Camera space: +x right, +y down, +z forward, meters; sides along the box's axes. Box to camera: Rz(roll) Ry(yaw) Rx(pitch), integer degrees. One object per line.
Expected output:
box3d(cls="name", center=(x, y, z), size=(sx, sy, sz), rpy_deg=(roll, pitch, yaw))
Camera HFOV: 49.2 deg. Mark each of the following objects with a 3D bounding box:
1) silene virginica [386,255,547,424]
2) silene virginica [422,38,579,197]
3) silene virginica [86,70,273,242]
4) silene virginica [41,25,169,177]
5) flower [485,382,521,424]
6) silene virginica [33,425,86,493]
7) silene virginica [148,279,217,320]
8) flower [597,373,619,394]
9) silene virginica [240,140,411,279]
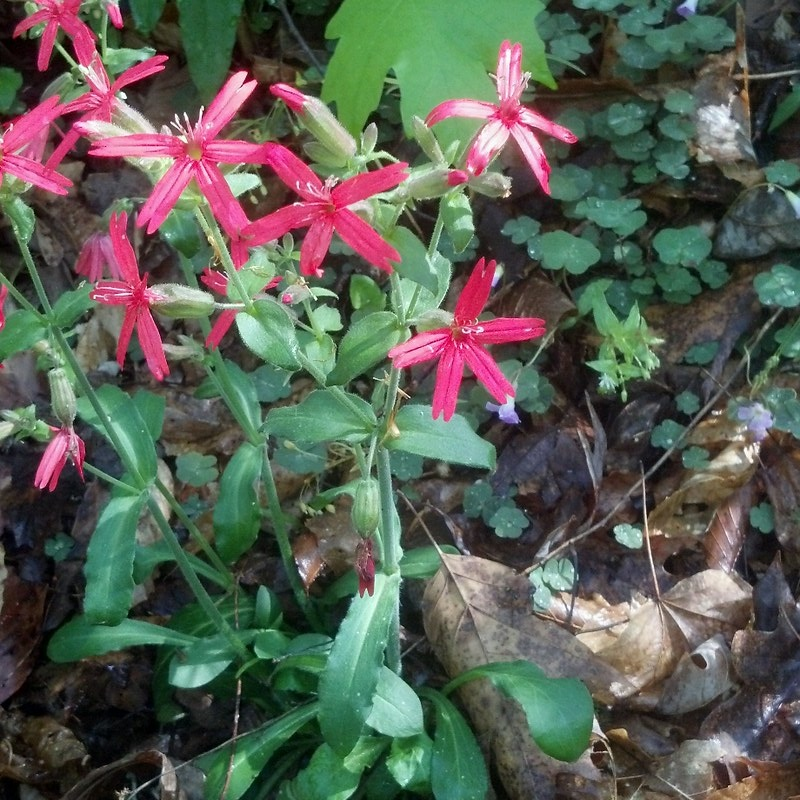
box3d(cls="silene virginica", center=(0.149, -0.144, 2.001), size=(0.362, 0.348, 0.114), rpy_deg=(11, 43, -7))
box3d(cls="silene virginica", center=(0.244, -0.668, 2.028), size=(0.369, 0.152, 0.357), rpy_deg=(4, 7, -44))
box3d(cls="silene virginica", center=(-0.431, -0.502, 1.880), size=(0.369, 0.234, 0.368), rpy_deg=(-23, 48, -4))
box3d(cls="silene virginica", center=(-0.720, -0.721, 2.090), size=(0.280, 0.121, 0.230), rpy_deg=(-30, 86, 6))
box3d(cls="flower", center=(0.349, 0.018, 3.036), size=(0.120, 0.046, 0.116), rpy_deg=(46, 60, 7))
box3d(cls="silene virginica", center=(-1.017, 0.183, 2.600), size=(0.107, 0.257, 0.111), rpy_deg=(18, 49, -20))
box3d(cls="silene virginica", center=(-0.528, -0.238, 2.134), size=(0.157, 0.072, 0.070), rpy_deg=(8, 34, -22))
box3d(cls="flower", center=(0.740, -0.058, 3.118), size=(0.080, 0.072, 0.051), rpy_deg=(14, 17, 33))
box3d(cls="silene virginica", center=(-0.152, -0.405, 1.833), size=(0.359, 0.251, 0.197), rpy_deg=(-3, 51, 13))
